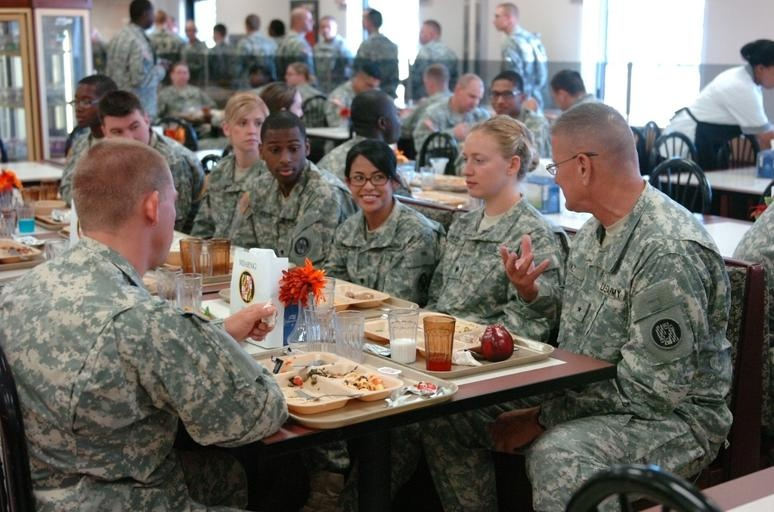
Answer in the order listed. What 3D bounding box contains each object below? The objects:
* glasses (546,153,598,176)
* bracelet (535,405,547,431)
[{"bbox_3d":[0.688,-0.363,2.559,0.108,0.030,0.089,-29,-7,24],"label":"glasses"},{"bbox_3d":[0.573,0.618,2.511,0.027,0.071,0.065,-2,-11,5],"label":"bracelet"}]
